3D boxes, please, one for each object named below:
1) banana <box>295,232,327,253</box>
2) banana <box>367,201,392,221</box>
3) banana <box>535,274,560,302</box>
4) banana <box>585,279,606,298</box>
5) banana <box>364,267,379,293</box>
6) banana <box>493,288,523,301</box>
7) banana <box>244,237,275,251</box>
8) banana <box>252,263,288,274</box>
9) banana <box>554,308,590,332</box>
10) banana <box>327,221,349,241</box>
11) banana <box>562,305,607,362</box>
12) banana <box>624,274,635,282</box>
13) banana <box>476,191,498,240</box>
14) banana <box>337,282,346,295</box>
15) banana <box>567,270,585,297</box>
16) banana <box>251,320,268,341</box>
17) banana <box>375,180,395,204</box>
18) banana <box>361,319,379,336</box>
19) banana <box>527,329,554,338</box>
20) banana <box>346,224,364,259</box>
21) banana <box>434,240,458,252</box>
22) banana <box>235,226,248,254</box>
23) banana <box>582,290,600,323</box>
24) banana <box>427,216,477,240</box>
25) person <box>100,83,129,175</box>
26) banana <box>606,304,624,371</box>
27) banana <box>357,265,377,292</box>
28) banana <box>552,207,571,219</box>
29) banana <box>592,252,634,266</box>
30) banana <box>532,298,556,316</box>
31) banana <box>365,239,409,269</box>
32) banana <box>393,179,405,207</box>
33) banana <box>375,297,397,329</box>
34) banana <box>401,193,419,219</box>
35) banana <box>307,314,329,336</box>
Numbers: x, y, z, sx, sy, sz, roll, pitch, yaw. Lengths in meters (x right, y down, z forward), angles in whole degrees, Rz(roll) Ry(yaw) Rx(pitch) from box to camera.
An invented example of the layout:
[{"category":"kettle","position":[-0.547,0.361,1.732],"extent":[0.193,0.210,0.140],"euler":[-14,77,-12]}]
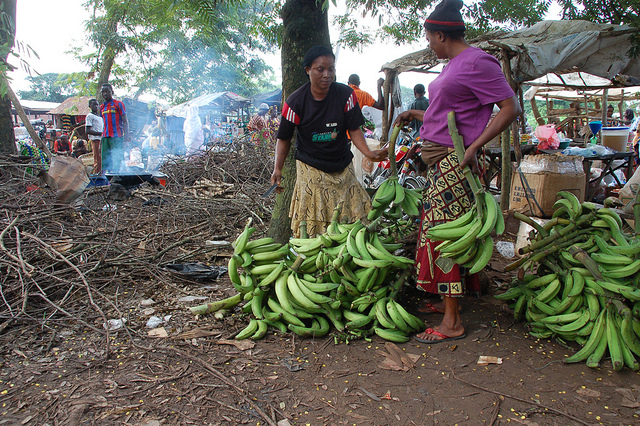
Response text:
[{"category":"banana","position":[-0.086,0.313,4.330],"extent":[0.266,0.070,0.095],"euler":[-29,11,5]},{"category":"banana","position":[0.564,0.011,4.217],"extent":[0.338,0.085,0.086],"euler":[-41,-5,-6]},{"category":"banana","position":[2.167,0.740,3.970],"extent":[0.108,0.349,0.125],"euler":[39,-14,-12]},{"category":"banana","position":[2.506,0.689,3.815],"extent":[0.065,0.136,0.175],"euler":[-12,16,-40]},{"category":"banana","position":[0.494,0.645,4.078],"extent":[0.059,0.277,0.103],"euler":[36,18,33]},{"category":"banana","position":[1.935,0.848,4.302],"extent":[0.302,0.076,0.105],"euler":[-19,15,6]},{"category":"banana","position":[-0.646,0.312,4.508],"extent":[0.391,0.100,0.131],"euler":[-5,35,-23]},{"category":"banana","position":[-0.510,0.595,4.448],"extent":[0.434,0.150,0.119],"euler":[-1,1,-11]},{"category":"banana","position":[2.264,0.990,3.790],"extent":[0.068,0.162,0.257],"euler":[28,-54,-33]},{"category":"banana","position":[0.176,0.171,4.255],"extent":[0.159,0.070,0.194],"euler":[25,27,9]},{"category":"banana","position":[2.385,1.104,3.767],"extent":[0.100,0.499,0.171],"euler":[39,-8,-24]},{"category":"banana","position":[2.796,0.594,3.801],"extent":[0.074,0.017,0.068],"euler":[-12,0,11]},{"category":"banana","position":[1.497,0.023,3.771],"extent":[0.172,0.435,0.122],"euler":[4,-12,7]},{"category":"banana","position":[0.217,0.761,4.157],"extent":[0.063,0.103,0.035],"euler":[29,-27,-27]},{"category":"banana","position":[2.365,0.662,3.873],"extent":[0.116,0.243,0.111],"euler":[7,15,35]},{"category":"banana","position":[-0.610,1.178,4.195],"extent":[0.141,0.060,0.252],"euler":[6,27,2]},{"category":"banana","position":[0.691,-0.207,4.252],"extent":[0.147,0.087,0.382],"euler":[-24,23,39]},{"category":"banana","position":[0.493,1.140,4.128],"extent":[0.076,0.048,0.217],"euler":[23,47,33]},{"category":"banana","position":[2.101,1.169,4.011],"extent":[0.237,0.086,0.060],"euler":[-8,-34,19]},{"category":"banana","position":[0.332,0.278,4.135],"extent":[0.135,0.084,0.360],"euler":[-2,46,8]},{"category":"banana","position":[1.131,0.301,3.864],"extent":[0.242,0.060,0.087],"euler":[-27,-22,22]},{"category":"banana","position":[-0.791,0.288,4.348],"extent":[0.063,0.288,0.076],"euler":[9,-31,15]},{"category":"banana","position":[2.462,0.852,3.799],"extent":[0.087,0.253,0.070],"euler":[21,-51,-36]},{"category":"banana","position":[1.224,0.143,3.827],"extent":[0.384,0.075,0.136],"euler":[-14,44,22]},{"category":"person","position":[-4.789,-1.959,9.683],"extent":[0.620,1.962,0.394],"euler":[-7,14,-25]},{"category":"banana","position":[2.561,1.085,3.684],"extent":[0.114,0.580,0.106],"euler":[-1,-12,10]},{"category":"banana","position":[0.450,0.632,4.093],"extent":[0.102,0.328,0.118],"euler":[21,27,-14]},{"category":"banana","position":[2.410,0.000,4.186],"extent":[0.119,0.043,0.137],"euler":[15,-32,-20]},{"category":"banana","position":[2.640,0.427,3.794],"extent":[0.313,0.087,0.109],"euler":[3,16,28]},{"category":"banana","position":[2.111,0.904,4.007],"extent":[0.242,0.070,0.098],"euler":[30,45,0]},{"category":"banana","position":[0.647,0.413,4.159],"extent":[0.451,0.147,0.093],"euler":[28,-31,7]},{"category":"banana","position":[0.801,-0.200,4.317],"extent":[0.106,0.276,0.101],"euler":[8,-22,-36]},{"category":"banana","position":[0.616,0.995,4.097],"extent":[0.209,0.363,0.107],"euler":[16,-40,-14]},{"category":"banana","position":[0.934,-0.066,4.395],"extent":[0.104,0.314,0.096],"euler":[-35,2,8]},{"category":"banana","position":[-0.008,1.152,4.190],"extent":[0.161,0.157,0.218],"euler":[3,13,19]}]
